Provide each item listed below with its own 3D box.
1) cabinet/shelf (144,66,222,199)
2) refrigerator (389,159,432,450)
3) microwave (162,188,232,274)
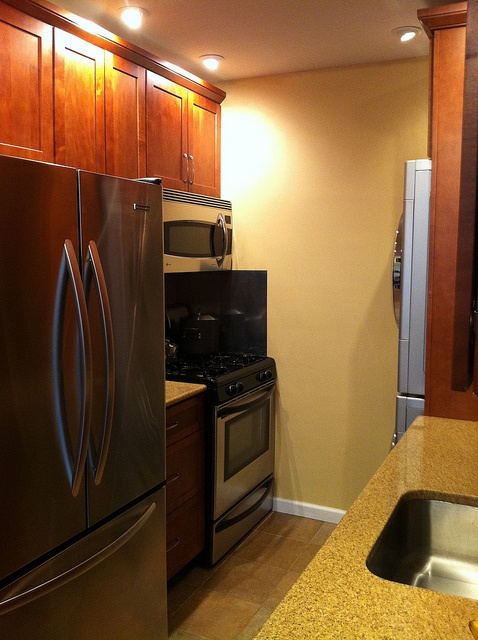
[{"bbox_3d":[-0.338,-1.001,2.745,0.217,0.635,0.573,5,7,38],"label":"cabinet/shelf"},{"bbox_3d":[0.706,-0.063,1.984,0.134,1.154,0.090,2,3,31],"label":"refrigerator"},{"bbox_3d":[-0.270,-0.489,2.799,0.478,0.431,0.321,-2,7,-35],"label":"microwave"}]
